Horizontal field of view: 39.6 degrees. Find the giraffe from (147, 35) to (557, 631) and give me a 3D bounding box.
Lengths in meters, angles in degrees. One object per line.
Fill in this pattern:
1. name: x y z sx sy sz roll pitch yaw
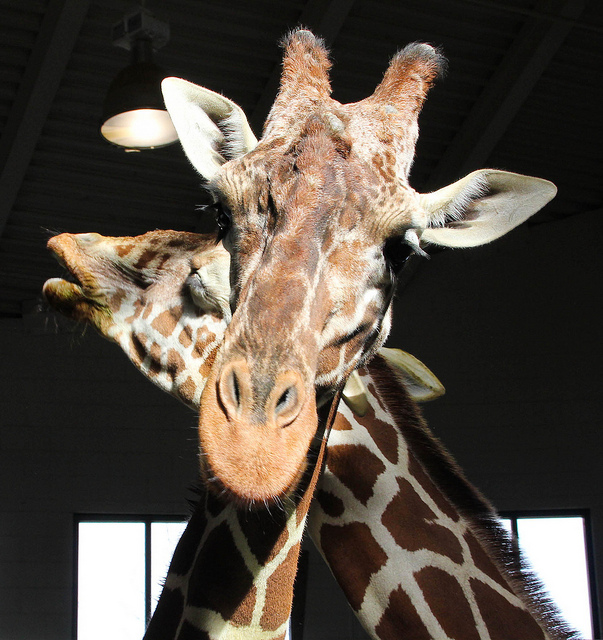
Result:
1. giraffe: 0.006 -0.049 2.242 0.581 1.580 0.758 5 -20 -6
